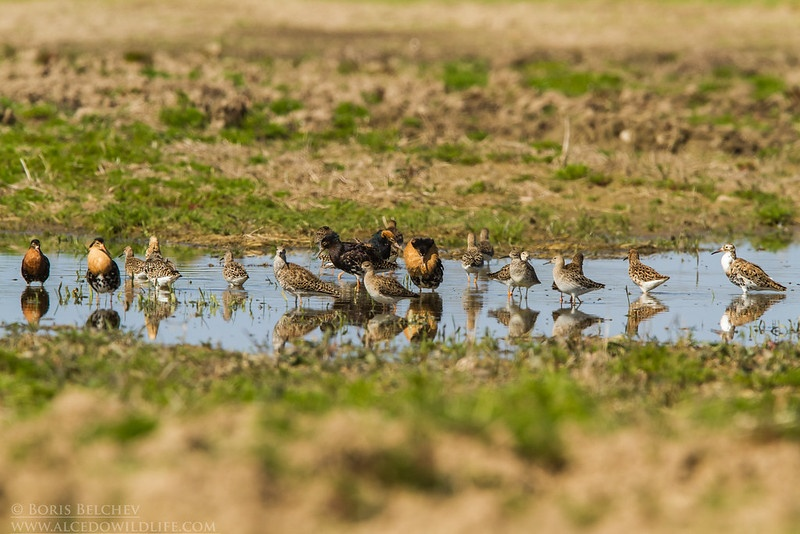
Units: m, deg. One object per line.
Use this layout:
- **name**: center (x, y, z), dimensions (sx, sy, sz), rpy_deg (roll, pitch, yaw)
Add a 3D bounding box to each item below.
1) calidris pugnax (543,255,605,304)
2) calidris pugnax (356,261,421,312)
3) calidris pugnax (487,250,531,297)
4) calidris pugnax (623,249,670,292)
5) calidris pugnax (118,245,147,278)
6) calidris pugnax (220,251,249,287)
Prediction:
- **calidris pugnax**: center (3.740, 0.287, 24.166), dimensions (1.341, 0.700, 1.048), rpy_deg (2, 91, -14)
- **calidris pugnax**: center (-0.248, 0.394, 23.622), dimensions (1.493, 0.606, 1.056), rpy_deg (0, 95, -23)
- **calidris pugnax**: center (2.420, 0.114, 24.663), dimensions (1.255, 0.519, 0.908), rpy_deg (-3, 94, 26)
- **calidris pugnax**: center (5.536, 0.110, 25.199), dimensions (0.537, 1.211, 0.983), rpy_deg (-11, 100, -38)
- **calidris pugnax**: center (-6.080, -0.064, 26.115), dimensions (0.984, 0.393, 0.759), rpy_deg (4, 87, 20)
- **calidris pugnax**: center (-3.742, 0.096, 25.631), dimensions (0.498, 1.335, 0.874), rpy_deg (-2, 94, -32)
